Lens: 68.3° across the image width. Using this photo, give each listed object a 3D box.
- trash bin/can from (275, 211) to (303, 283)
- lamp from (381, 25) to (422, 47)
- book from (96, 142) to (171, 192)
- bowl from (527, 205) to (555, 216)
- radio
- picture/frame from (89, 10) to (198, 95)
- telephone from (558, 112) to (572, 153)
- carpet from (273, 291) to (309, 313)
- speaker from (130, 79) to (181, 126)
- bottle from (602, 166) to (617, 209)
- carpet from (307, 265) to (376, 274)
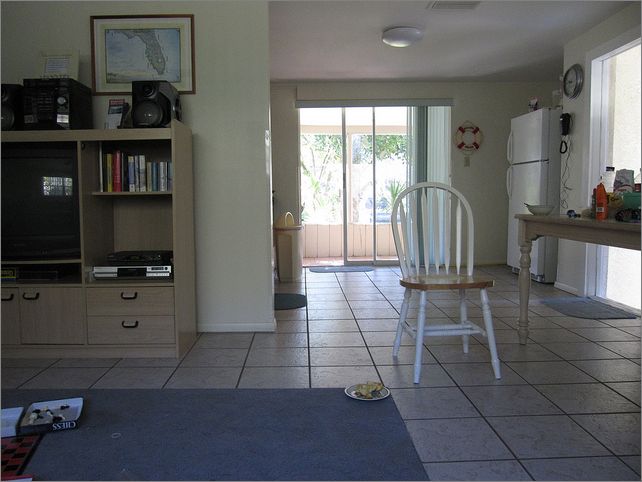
[{"bbox_3d":[-0.422,0.085,5.966,0.346,0.810,0.509,-1,10,-6],"label":"trash bin/can"},{"bbox_3d":[0.824,-2.112,4.853,0.365,0.121,0.358,-8,13,-37],"label":"lamp"},{"bbox_3d":[-1.306,-0.491,3.260,0.332,0.153,0.433,1,4,-3],"label":"book"},{"bbox_3d":[1.562,-0.219,3.410,0.122,0.057,0.151,-1,0,-1],"label":"bowl"},{"bbox_3d":[-1.911,-0.977,3.455,0.452,0.310,0.449,-1,10,-18],"label":"radio"},{"bbox_3d":[-1.362,-1.444,3.574,0.751,0.540,0.028,-1,3,-4],"label":"picture/frame"},{"bbox_3d":[2.605,-1.149,5.097,0.120,0.431,0.253,2,10,12],"label":"telephone"},{"bbox_3d":[-0.313,0.608,4.792,0.320,0.052,0.733,-1,10,-5],"label":"carpet"},{"bbox_3d":[-1.143,-0.996,3.408,0.273,0.348,0.361,6,19,-12],"label":"speaker"},{"bbox_3d":[1.914,-0.384,3.159,0.082,0.212,0.350,5,12,30],"label":"bottle"},{"bbox_3d":[0.268,0.401,6.660,0.883,0.054,0.609,0,10,4],"label":"carpet"}]
